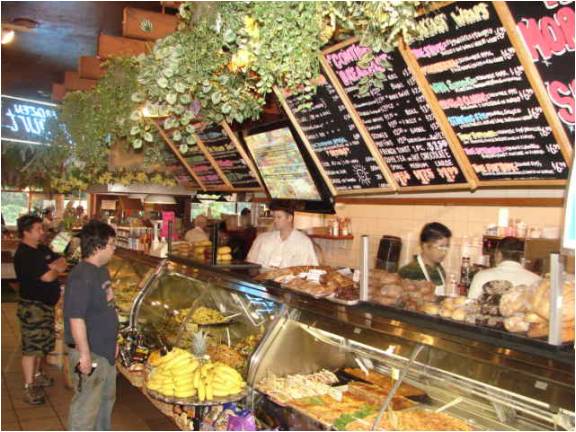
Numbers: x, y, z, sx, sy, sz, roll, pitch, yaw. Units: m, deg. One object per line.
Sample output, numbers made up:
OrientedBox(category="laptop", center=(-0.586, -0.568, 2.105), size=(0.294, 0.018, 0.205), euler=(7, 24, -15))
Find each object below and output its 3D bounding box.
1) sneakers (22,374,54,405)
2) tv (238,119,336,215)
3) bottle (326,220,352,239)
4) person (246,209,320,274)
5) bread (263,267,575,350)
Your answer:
OrientedBox(category="sneakers", center=(-2.941, 2.038, 4.729), size=(0.213, 0.206, 0.558), euler=(6, -11, -34))
OrientedBox(category="tv", center=(0.004, -0.518, 3.953), size=(0.123, 1.165, 1.266), euler=(-42, 16, -22))
OrientedBox(category="bottle", center=(0.726, 0.173, 5.527), size=(0.310, 0.171, 0.282), euler=(0, -3, 9))
OrientedBox(category="person", center=(-0.010, 0.296, 4.638), size=(0.976, 0.741, 0.503), euler=(0, 3, 40))
OrientedBox(category="bread", center=(0.693, 0.399, 2.274), size=(0.324, 0.369, 1.619), euler=(-2, 0, -43))
